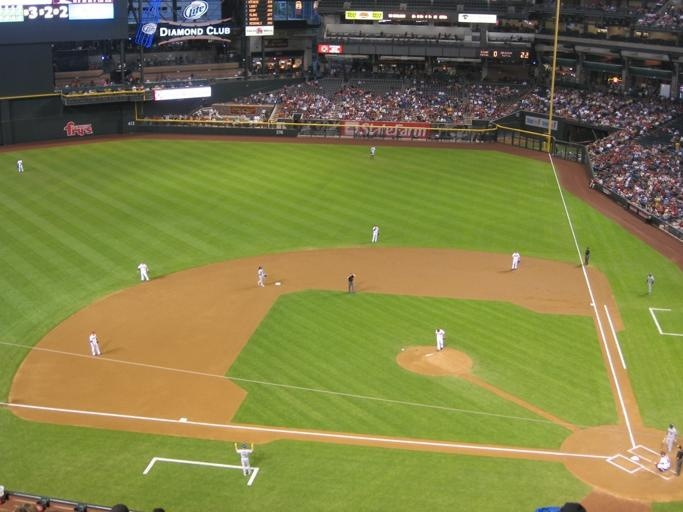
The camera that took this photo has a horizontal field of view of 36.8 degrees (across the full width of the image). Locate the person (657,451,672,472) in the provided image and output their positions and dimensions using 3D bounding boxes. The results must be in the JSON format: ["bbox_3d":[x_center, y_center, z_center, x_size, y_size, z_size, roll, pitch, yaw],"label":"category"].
[{"bbox_3d":[18.341,11.671,58.231,1.027,0.916,0.738,-9,19,-33],"label":"person"}]

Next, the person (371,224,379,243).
[{"bbox_3d":[2.644,-1.857,81.331,0.600,0.363,1.379,10,41,4],"label":"person"}]

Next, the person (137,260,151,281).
[{"bbox_3d":[-14.558,1.018,75.308,0.865,1.259,2.089,-2,15,-12],"label":"person"}]

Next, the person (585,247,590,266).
[{"bbox_3d":[18.649,-0.034,77.931,0.413,1.365,1.820,5,16,13],"label":"person"}]

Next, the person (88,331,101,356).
[{"bbox_3d":[-16.154,5.581,67.046,0.707,1.424,1.833,-3,16,-14],"label":"person"}]

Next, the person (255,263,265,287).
[{"bbox_3d":[-6.006,1.481,75.218,0.726,1.592,0.723,0,41,1],"label":"person"}]
